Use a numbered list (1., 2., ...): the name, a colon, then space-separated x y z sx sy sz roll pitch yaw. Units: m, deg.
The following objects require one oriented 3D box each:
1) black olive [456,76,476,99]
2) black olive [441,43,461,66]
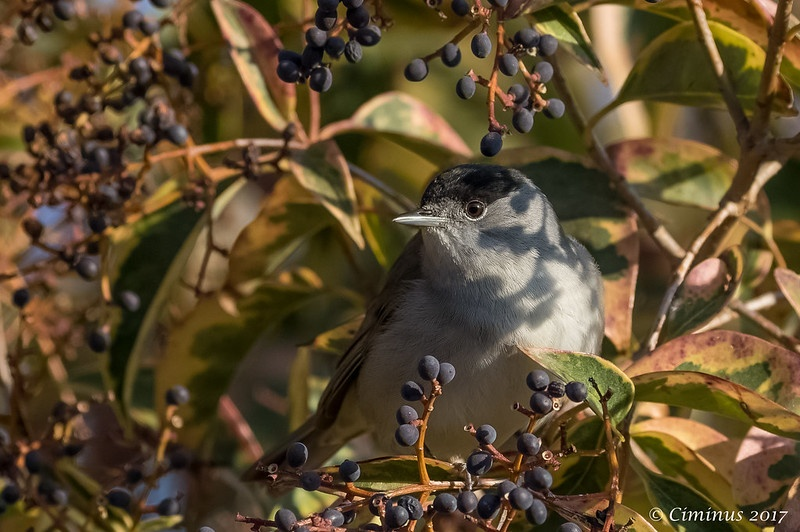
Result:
1. black olive: 0.231 -0.631 4.115 0.067 0.080 0.038 -4 7 -24
2. black olive: 0.189 -0.753 4.122 0.060 0.090 0.068 3 7 18
